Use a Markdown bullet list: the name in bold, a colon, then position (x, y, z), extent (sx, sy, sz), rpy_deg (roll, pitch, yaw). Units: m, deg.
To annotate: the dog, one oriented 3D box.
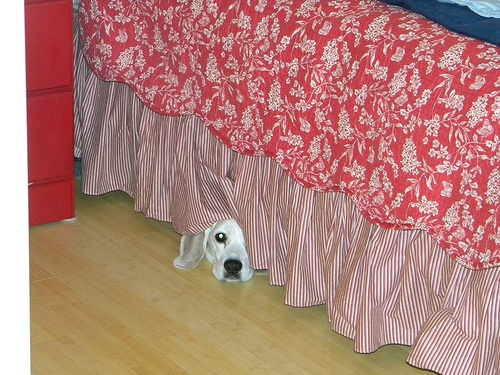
- **dog**: position (-0.113, 0.220, 1.737), extent (0.311, 0.102, 0.240), rpy_deg (-3, 23, -14)
